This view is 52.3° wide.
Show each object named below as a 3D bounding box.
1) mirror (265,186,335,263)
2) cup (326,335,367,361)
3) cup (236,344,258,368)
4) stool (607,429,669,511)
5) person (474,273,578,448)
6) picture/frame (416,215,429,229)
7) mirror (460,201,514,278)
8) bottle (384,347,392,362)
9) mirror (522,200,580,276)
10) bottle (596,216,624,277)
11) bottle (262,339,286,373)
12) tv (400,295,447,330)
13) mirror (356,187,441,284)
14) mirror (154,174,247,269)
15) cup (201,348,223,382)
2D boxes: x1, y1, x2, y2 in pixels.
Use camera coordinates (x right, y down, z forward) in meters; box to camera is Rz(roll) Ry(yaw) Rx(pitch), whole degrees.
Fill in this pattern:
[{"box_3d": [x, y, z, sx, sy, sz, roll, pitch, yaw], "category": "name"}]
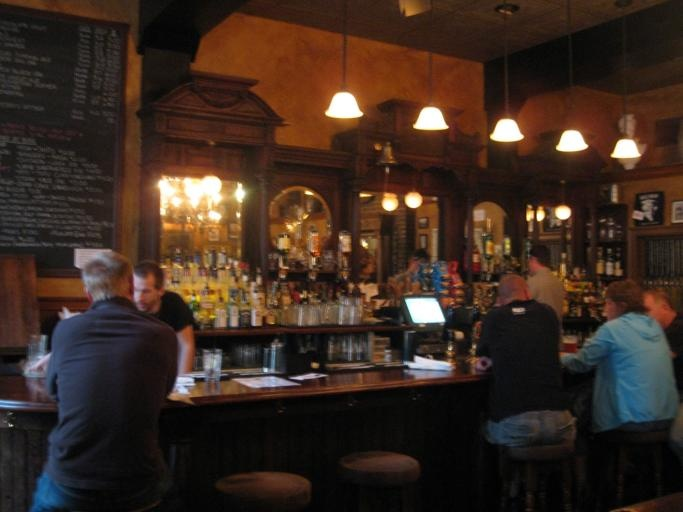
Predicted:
[{"box_3d": [-0.495, -0.339, 7.701, 0.854, 0.919, 0.122, 8, -22, -39], "category": "mirror"}, {"box_3d": [0.063, 0.813, 6.166, 0.362, 0.225, 0.165, 0, -2, -3], "category": "cup"}, {"box_3d": [-0.799, 0.852, 5.899, 0.189, 0.227, 0.177, 2, -1, 0], "category": "cup"}, {"box_3d": [2.359, 1.639, 5.507, 0.405, 0.653, 0.668, -1, -3, 24], "category": "stool"}, {"box_3d": [1.361, 0.862, 5.133, 0.667, 1.065, 0.291, -1, -2, 12], "category": "person"}, {"box_3d": [1.052, -0.444, 9.018, 0.182, 0.191, 0.039, 1, -3, -2], "category": "picture/frame"}, {"box_3d": [1.862, -0.193, 9.045, 1.031, 1.318, 0.145, 4, -10, -27], "category": "mirror"}, {"box_3d": [0.421, 0.894, 6.261, 0.085, 0.144, 0.083, 0, -9, 0], "category": "bottle"}, {"box_3d": [2.861, -0.287, 9.820, 0.616, 1.056, 0.129, -6, -3, 42], "category": "mirror"}, {"box_3d": [3.940, -0.107, 10.199, 0.400, 0.870, 0.249, -1, -2, 20], "category": "bottle"}, {"box_3d": [-0.544, 0.812, 5.617, 0.169, 0.243, 0.275, 0, -2, -7], "category": "bottle"}, {"box_3d": [0.759, 0.506, 6.382, 0.378, 0.293, 0.213, 0, -2, -13], "category": "tv"}, {"box_3d": [0.495, -0.156, 9.068, 1.476, 1.266, 0.472, -2, 3, -29], "category": "mirror"}, {"box_3d": [-1.457, -0.337, 6.996, 1.045, 0.893, 0.331, 1, -5, -34], "category": "mirror"}, {"box_3d": [-0.966, 0.828, 5.216, 0.179, 0.242, 0.164, 4, -2, 0], "category": "cup"}]
